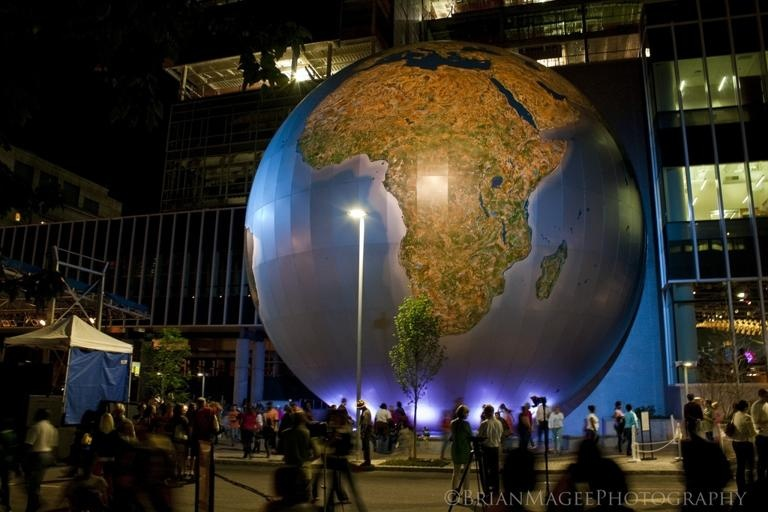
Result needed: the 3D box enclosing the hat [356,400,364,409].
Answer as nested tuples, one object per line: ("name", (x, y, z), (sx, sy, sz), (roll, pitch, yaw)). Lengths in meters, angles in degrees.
("hat", (-0.919, 5.638, 26.295), (0.274, 0.288, 0.283), (-5, -5, 28))
